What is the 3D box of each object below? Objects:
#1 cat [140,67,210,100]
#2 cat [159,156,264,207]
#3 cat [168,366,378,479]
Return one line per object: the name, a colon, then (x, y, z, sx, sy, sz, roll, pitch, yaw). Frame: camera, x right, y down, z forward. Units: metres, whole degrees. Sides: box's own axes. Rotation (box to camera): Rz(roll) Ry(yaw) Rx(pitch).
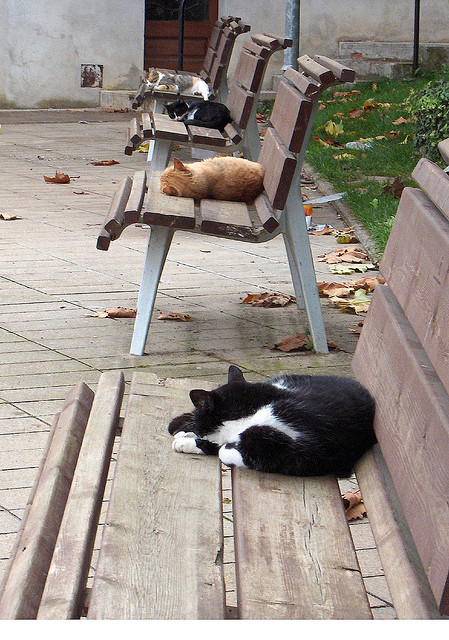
cat: (-0.615, -2.933, 6.899, 0.768, 0.238, 1.248, 2, 25, -9)
cat: (-0.067, -0.917, 3.629, 0.674, 0.319, 0.338, 5, 27, 14)
cat: (0.127, 0.247, 1.388, 0.507, 0.185, 0.385, -1, 26, -15)
